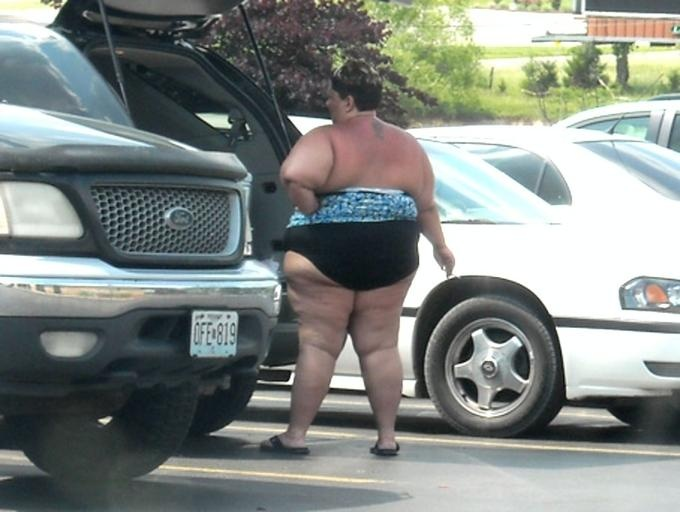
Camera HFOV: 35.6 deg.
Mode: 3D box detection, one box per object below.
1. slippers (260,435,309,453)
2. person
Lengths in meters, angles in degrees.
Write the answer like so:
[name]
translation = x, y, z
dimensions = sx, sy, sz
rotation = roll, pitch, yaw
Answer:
[slippers]
translation = -0.322, 1.070, 6.041
dimensions = 0.279, 0.088, 0.110
rotation = 3, 2, 34
[person]
translation = 0.079, 0.064, 5.913
dimensions = 0.652, 2.125, 0.918
rotation = 14, 22, 36
